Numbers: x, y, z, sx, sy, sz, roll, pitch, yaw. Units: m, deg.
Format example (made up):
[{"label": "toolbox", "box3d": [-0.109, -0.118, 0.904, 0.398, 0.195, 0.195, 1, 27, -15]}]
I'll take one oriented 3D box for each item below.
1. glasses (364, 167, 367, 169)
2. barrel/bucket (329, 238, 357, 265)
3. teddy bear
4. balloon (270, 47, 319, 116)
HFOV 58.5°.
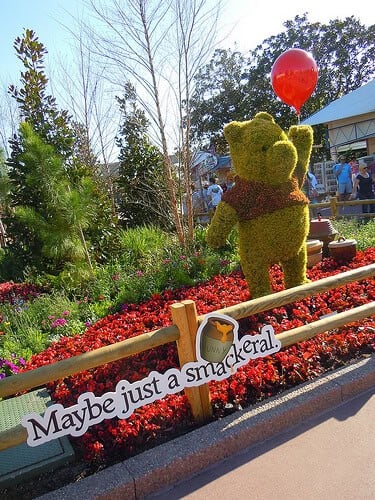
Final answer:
[{"label": "glasses", "box3d": [4.620, -2.156, 8.675, 0.051, 0.047, 0.051, -1, 20, 10]}, {"label": "barrel/bucket", "box3d": [2.055, 0.009, 4.391, 0.319, 0.311, 0.338, -3, 6, 0]}, {"label": "teddy bear", "box3d": [0.638, -0.304, 3.188, 0.930, 1.863, 1.246, -1, 18, -1]}, {"label": "balloon", "box3d": [1.402, -2.158, 4.333, 0.615, 0.903, 0.581, -5, -2, -42]}]
